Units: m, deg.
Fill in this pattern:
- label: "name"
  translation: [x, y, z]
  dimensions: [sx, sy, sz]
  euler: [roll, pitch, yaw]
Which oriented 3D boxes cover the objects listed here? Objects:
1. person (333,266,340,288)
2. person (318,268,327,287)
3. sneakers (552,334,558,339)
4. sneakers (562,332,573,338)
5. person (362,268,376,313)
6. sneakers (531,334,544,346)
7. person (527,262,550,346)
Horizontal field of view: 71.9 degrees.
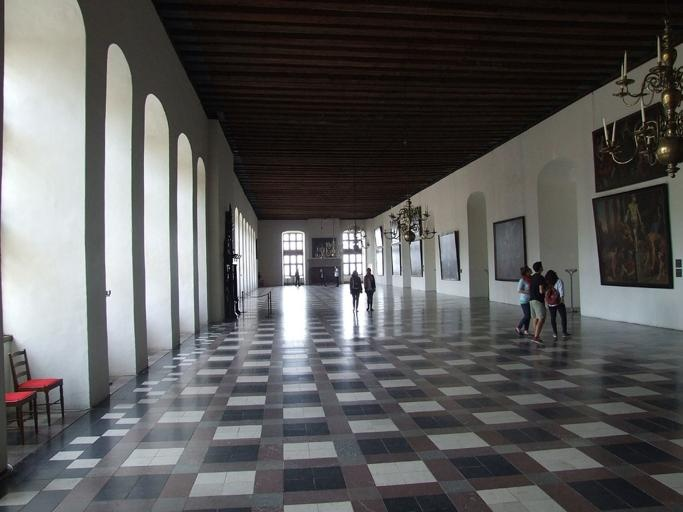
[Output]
- label: "person"
  translation: [-0.418, 1.568, 40.501]
  dimensions: [0.506, 1.435, 0.303]
  euler: [-1, 2, -12]
- label: "person"
  translation: [-1.651, 1.641, 40.172]
  dimensions: [0.520, 1.454, 0.489]
  euler: [-1, 2, -4]
- label: "sneakers"
  translation: [4.532, 1.713, 10.030]
  dimensions: [0.108, 0.140, 0.113]
  euler: [-5, -9, 32]
- label: "sneakers"
  translation: [4.898, 1.686, 10.202]
  dimensions: [0.265, 0.130, 0.091]
  euler: [-8, 5, -26]
- label: "person"
  translation: [0.935, 1.125, 16.005]
  dimensions: [0.290, 1.486, 0.854]
  euler: [-1, 3, 5]
- label: "sneakers"
  translation: [4.003, 1.728, 9.643]
  dimensions: [0.100, 0.133, 0.297]
  euler: [29, -2, -9]
- label: "person"
  translation: [4.211, 0.948, 10.138]
  dimensions: [0.314, 1.660, 1.248]
  euler: [0, 3, 22]
